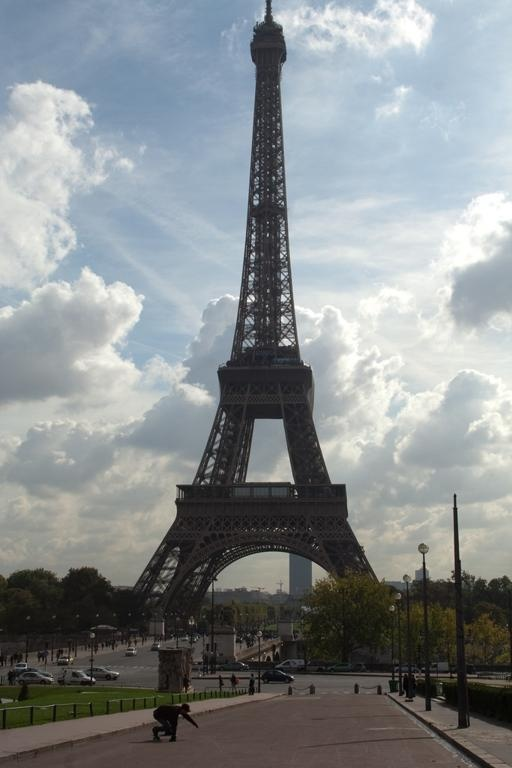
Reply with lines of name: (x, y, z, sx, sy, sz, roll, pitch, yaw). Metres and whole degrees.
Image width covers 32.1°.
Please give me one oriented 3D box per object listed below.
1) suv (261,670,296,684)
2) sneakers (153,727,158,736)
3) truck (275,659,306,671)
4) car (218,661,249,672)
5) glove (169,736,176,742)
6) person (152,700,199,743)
suv: (1.542, 23.148, 70.222, 2.532, 0.827, 1.311, -11, -18, 34)
sneakers: (-2.755, 9.437, 24.071, 0.115, 0.273, 0.492, 2, -15, -10)
truck: (3.404, 27.181, 85.909, 2.302, 1.058, 1.296, 5, -11, -2)
car: (-2.196, 25.338, 79.565, 2.512, 0.692, 1.989, -6, -16, 18)
glove: (-2.257, 9.542, 23.910, 0.187, 0.093, 0.710, 1, -15, -6)
person: (-2.485, 9.610, 25.529, 0.973, 1.024, 3.896, 1, -15, -6)
